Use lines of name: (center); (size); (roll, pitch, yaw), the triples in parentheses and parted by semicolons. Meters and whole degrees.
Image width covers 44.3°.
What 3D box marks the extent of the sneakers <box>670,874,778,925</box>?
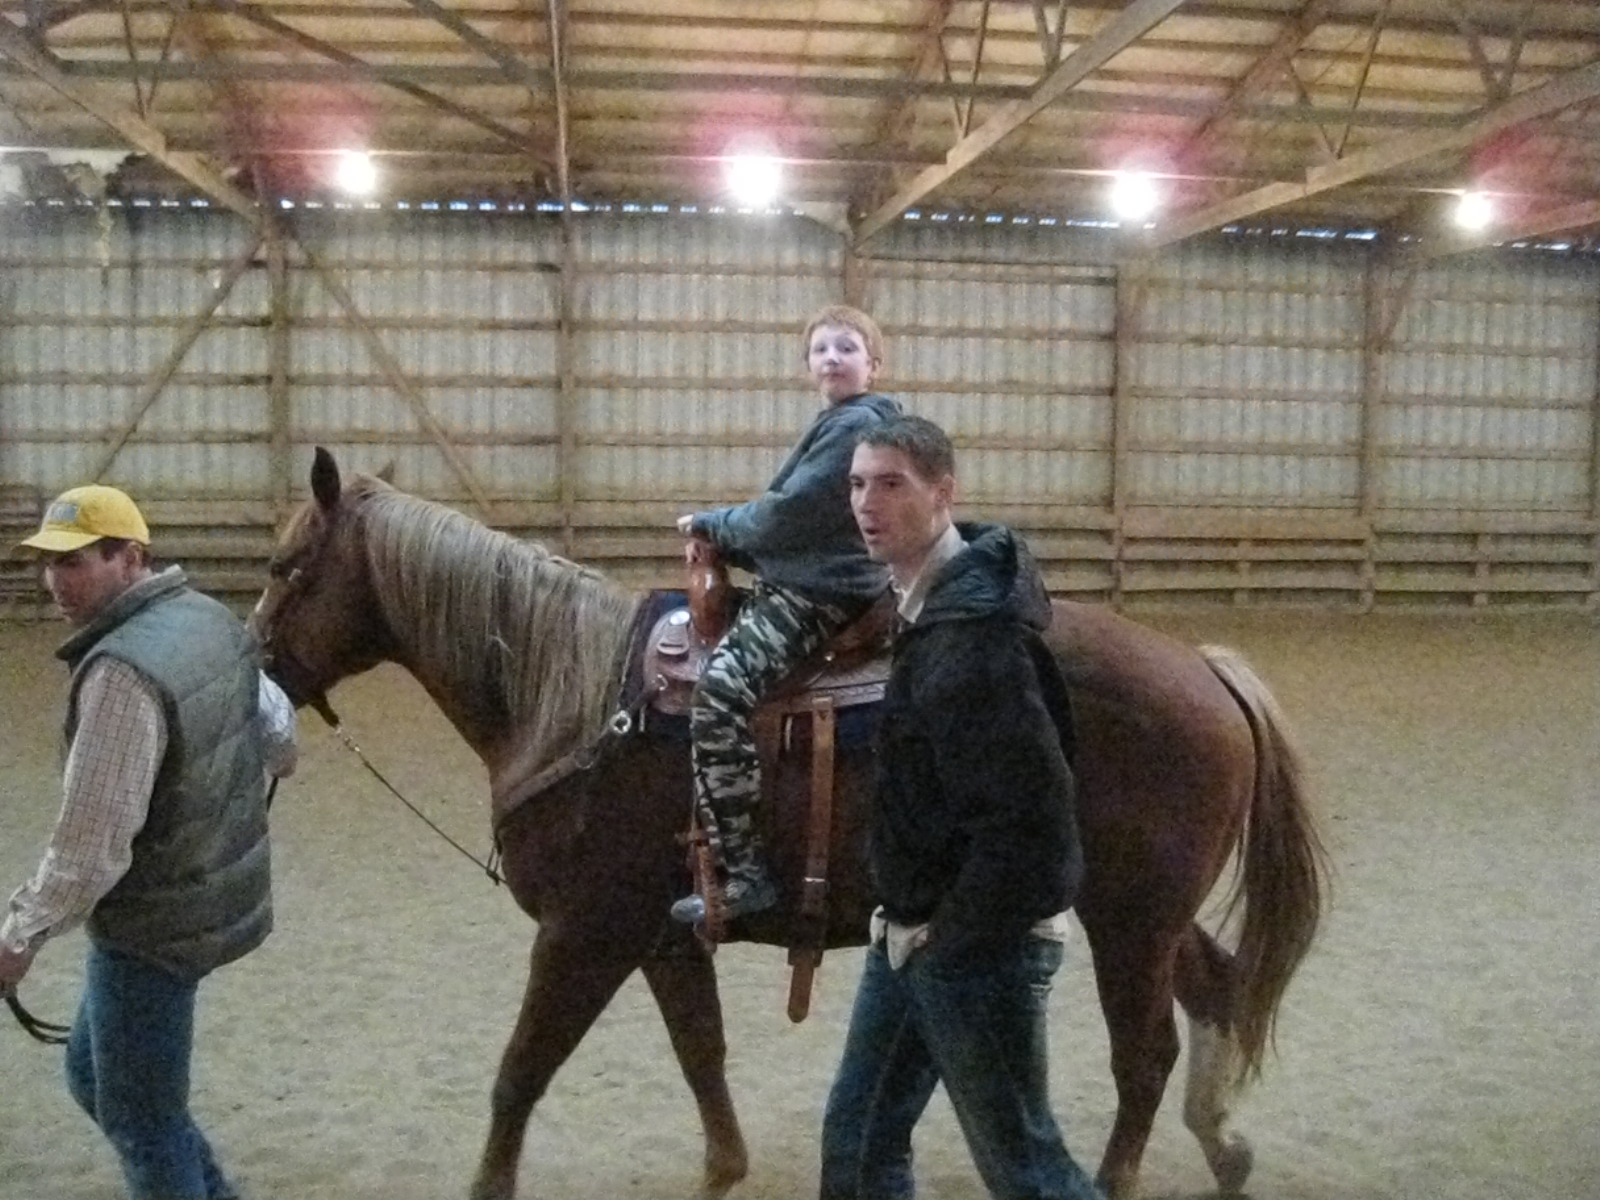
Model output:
sneakers: (-0.320, 1.354, 8.892); (0.570, 0.207, 0.178); (-1, 5, -17)

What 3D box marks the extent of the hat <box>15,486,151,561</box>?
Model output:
hat: (-3.182, -0.333, 8.763); (0.467, 0.217, 0.323); (3, -2, -31)
